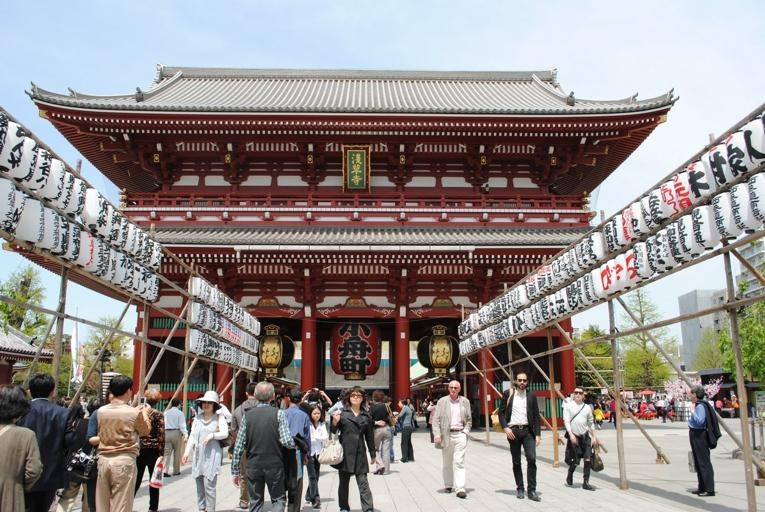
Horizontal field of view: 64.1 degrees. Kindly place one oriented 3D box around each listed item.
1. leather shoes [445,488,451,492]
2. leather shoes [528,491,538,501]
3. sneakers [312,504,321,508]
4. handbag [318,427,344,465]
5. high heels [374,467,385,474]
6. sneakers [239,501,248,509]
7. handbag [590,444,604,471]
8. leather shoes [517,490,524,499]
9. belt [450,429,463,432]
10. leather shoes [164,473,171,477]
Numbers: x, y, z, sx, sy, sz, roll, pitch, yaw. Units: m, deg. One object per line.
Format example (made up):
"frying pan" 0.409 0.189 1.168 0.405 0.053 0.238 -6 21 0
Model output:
"leather shoes" 1.431 5.131 13.419 0.169 0.096 0.135 -2 -23 3
"leather shoes" 3.145 4.942 12.604 0.243 0.204 0.260 4 -23 -11
"sneakers" -1.350 5.113 12.551 0.170 0.101 0.131 4 -23 -12
"handbag" -0.993 3.727 11.707 0.452 0.516 0.338 3 -23 -10
"high heels" -0.076 5.448 15.513 0.263 0.174 0.168 -18 -8 28
"sneakers" -2.822 5.055 12.494 0.177 0.144 0.177 -2 -3 9
"handbag" 4.749 4.493 13.686 0.215 0.541 0.729 -10 -24 21
"leather shoes" 2.897 4.995 12.837 0.176 0.163 0.262 -5 -23 10
"belt" 1.597 3.769 13.252 0.242 0.055 0.031 -4 -23 6
"leather shoes" -5.401 5.497 15.341 0.183 0.112 0.061 2 -1 -7
